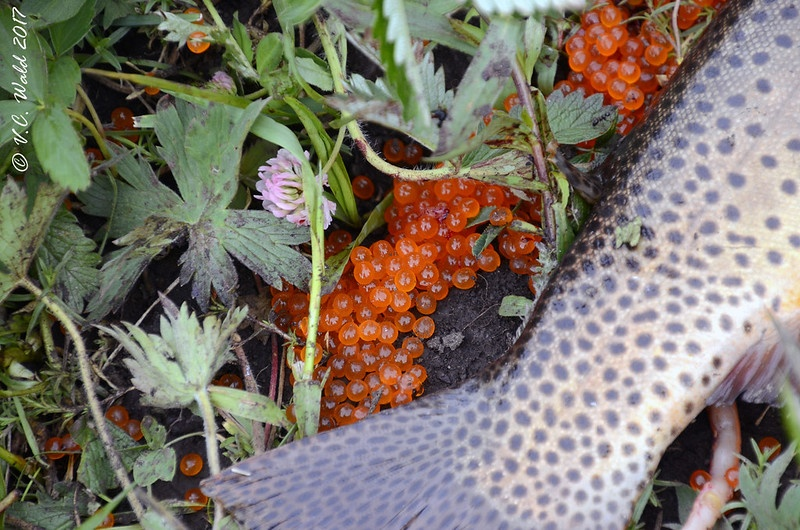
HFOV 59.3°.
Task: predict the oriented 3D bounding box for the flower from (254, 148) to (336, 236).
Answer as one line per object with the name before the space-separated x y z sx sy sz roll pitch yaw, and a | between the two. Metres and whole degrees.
flower | -0.257 -0.176 1.730 0.181 0.074 0.187 -44 86 13
